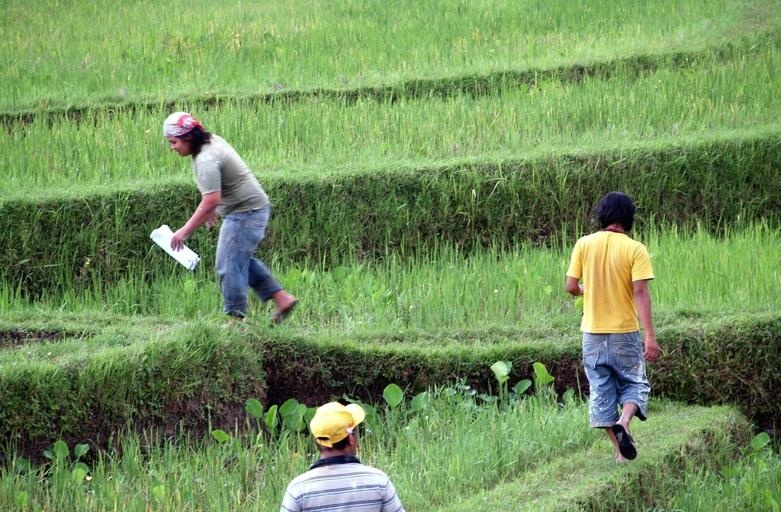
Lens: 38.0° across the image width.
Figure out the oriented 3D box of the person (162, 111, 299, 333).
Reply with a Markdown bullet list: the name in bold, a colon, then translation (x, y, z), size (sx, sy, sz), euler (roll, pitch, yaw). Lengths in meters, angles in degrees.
- **person**: translation (-1.496, -0.327, 10.503), size (1.066, 2.062, 0.410), euler (-10, 7, -38)

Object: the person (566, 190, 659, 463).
- **person**: translation (1.837, 0.587, 9.348), size (0.691, 2.197, 0.444), euler (-4, 5, 10)

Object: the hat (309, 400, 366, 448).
- **hat**: translation (-0.403, 1.214, 8.329), size (0.289, 0.238, 0.451), euler (-8, 8, 24)

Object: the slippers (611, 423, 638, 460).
- **slippers**: translation (1.915, 1.509, 9.305), size (0.138, 0.348, 0.143), euler (-10, 21, 39)
